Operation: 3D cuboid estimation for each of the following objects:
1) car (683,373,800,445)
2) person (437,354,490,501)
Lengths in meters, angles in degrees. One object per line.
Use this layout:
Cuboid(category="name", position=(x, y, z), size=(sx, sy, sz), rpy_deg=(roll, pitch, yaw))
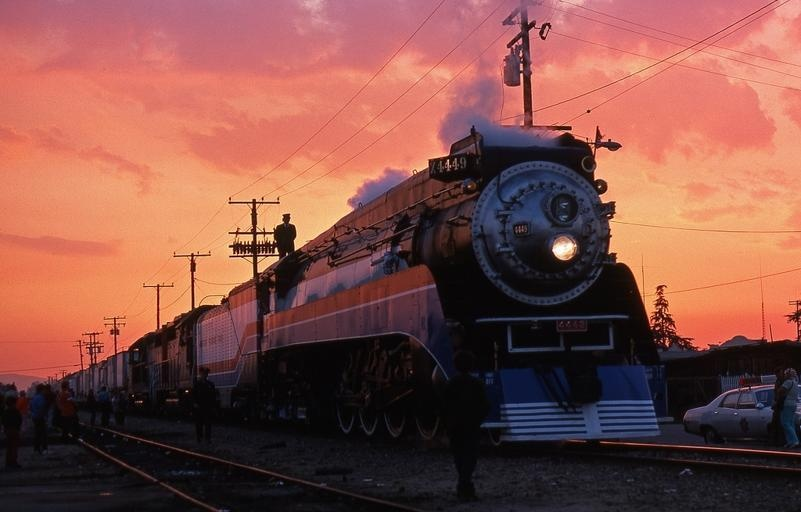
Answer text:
Cuboid(category="car", position=(9.333, 4.304, 24.570), size=(1.569, 0.980, 2.862), rpy_deg=(4, -16, -33))
Cuboid(category="person", position=(1.159, 2.938, 15.738), size=(0.733, 2.488, 0.582), rpy_deg=(-3, -2, -5))
